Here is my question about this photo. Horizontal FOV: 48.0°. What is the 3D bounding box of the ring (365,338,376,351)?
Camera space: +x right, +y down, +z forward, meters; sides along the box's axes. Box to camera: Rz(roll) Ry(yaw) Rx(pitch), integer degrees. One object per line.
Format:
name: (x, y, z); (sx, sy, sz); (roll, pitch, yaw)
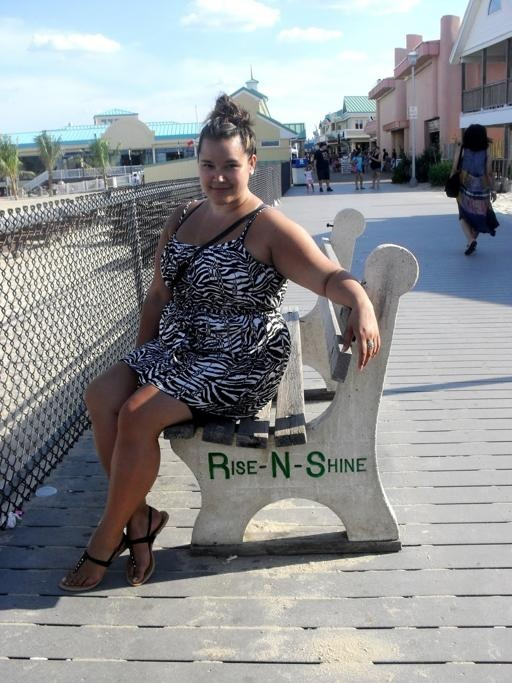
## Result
ring: (0.358, 0.006, 1.812); (0.031, 0.037, 0.041); (-3, -8, 10)

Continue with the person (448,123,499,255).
person: (3.378, -2.468, 9.042); (0.685, 1.765, 0.592); (-13, 15, -34)

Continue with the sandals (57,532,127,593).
sandals: (-0.567, 0.778, 1.974); (0.101, 0.072, 0.264); (-15, 16, 47)

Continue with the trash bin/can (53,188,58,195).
trash bin/can: (-18.754, -14.236, 54.154); (0.449, 0.514, 1.288); (0, 20, -4)

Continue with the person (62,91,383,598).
person: (-0.175, -0.007, 2.088); (1.101, 1.667, 0.848); (-1, 14, -10)

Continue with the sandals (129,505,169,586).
sandals: (-0.403, 0.735, 2.089); (0.089, 0.074, 0.267); (-14, 44, 38)

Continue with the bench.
bench: (0.096, 0.217, 2.505); (0.951, 1.104, 1.823); (0, 8, 4)
